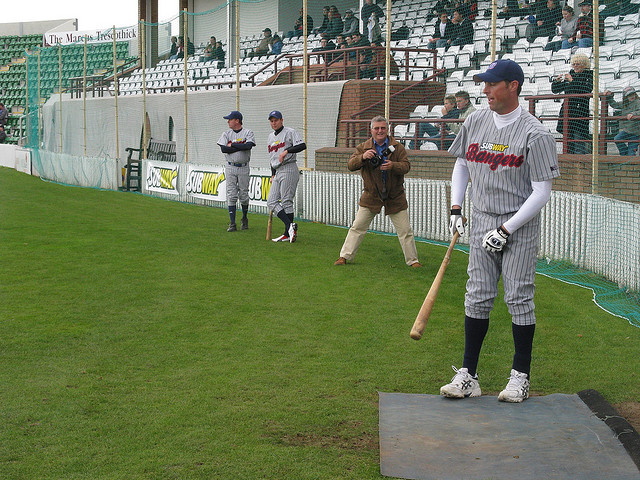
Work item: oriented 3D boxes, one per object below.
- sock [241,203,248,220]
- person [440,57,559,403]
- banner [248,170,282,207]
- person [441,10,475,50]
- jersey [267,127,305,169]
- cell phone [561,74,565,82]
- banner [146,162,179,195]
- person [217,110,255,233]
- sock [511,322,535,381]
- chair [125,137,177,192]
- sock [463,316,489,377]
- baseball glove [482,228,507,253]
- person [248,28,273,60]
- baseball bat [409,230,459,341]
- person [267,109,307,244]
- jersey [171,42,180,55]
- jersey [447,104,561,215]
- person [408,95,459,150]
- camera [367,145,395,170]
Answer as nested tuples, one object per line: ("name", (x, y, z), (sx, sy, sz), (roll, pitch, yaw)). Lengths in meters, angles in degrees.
("sock", (-1.475, -0.545, 14.018), (0.080, 0.306, 0.143), (-3, 14, -16))
("person", (1.475, -0.075, 6.069), (0.912, 2.853, 0.791), (9, 15, 33))
("banner", (-1.381, -1.225, 17.107), (0.085, 0.823, 0.983), (3, 2, 40))
("person", (3.643, -5.482, 18.683), (0.307, 0.938, 0.725), (-7, 15, -39))
("jersey", (-0.657, -1.666, 12.919), (0.429, 0.803, 0.920), (0, -8, -44))
("cell phone", (4.677, -3.115, 13.757), (0.034, 0.128, 0.138), (5, 1, -16))
("banner", (-4.652, -1.829, 21.038), (1.576, 0.908, 0.040), (13, 13, 40))
("person", (-1.593, -1.299, 13.756), (0.643, 2.270, 0.659), (-1, 13, -8))
("sock", (1.710, 0.964, 6.087), (0.174, 0.532, 0.219), (4, 13, 16))
("chair", (-5.960, -2.630, 23.428), (1.110, 1.474, 1.113), (11, 10, -30))
("sock", (1.305, 0.914, 6.153), (0.208, 0.500, 0.233), (8, 15, 28))
("baseball glove", (1.442, 0.014, 5.915), (0.096, 0.224, 0.192), (-11, 17, -41))
("person", (-2.191, -7.342, 26.805), (1.099, 1.378, 0.831), (-3, 18, -3))
("baseball bat", (1.427, 0.593, 8.958), (0.141, 1.460, 0.146), (34, -28, -9))
("person", (-0.600, -1.096, 12.747), (0.646, 2.309, 0.978), (0, 13, -4))
("jersey", (-6.504, -8.625, 32.155), (0.365, 0.627, 0.490), (-2, 9, -16))
("jersey", (1.554, -0.711, 6.146), (1.047, 0.894, 0.420), (18, 28, 41))
("person", (2.568, -2.775, 16.768), (1.225, 1.529, 1.205), (4, 12, 12))
("camera", (0.908, -1.206, 10.405), (0.345, 0.253, 0.133), (-35, 2, -1))
